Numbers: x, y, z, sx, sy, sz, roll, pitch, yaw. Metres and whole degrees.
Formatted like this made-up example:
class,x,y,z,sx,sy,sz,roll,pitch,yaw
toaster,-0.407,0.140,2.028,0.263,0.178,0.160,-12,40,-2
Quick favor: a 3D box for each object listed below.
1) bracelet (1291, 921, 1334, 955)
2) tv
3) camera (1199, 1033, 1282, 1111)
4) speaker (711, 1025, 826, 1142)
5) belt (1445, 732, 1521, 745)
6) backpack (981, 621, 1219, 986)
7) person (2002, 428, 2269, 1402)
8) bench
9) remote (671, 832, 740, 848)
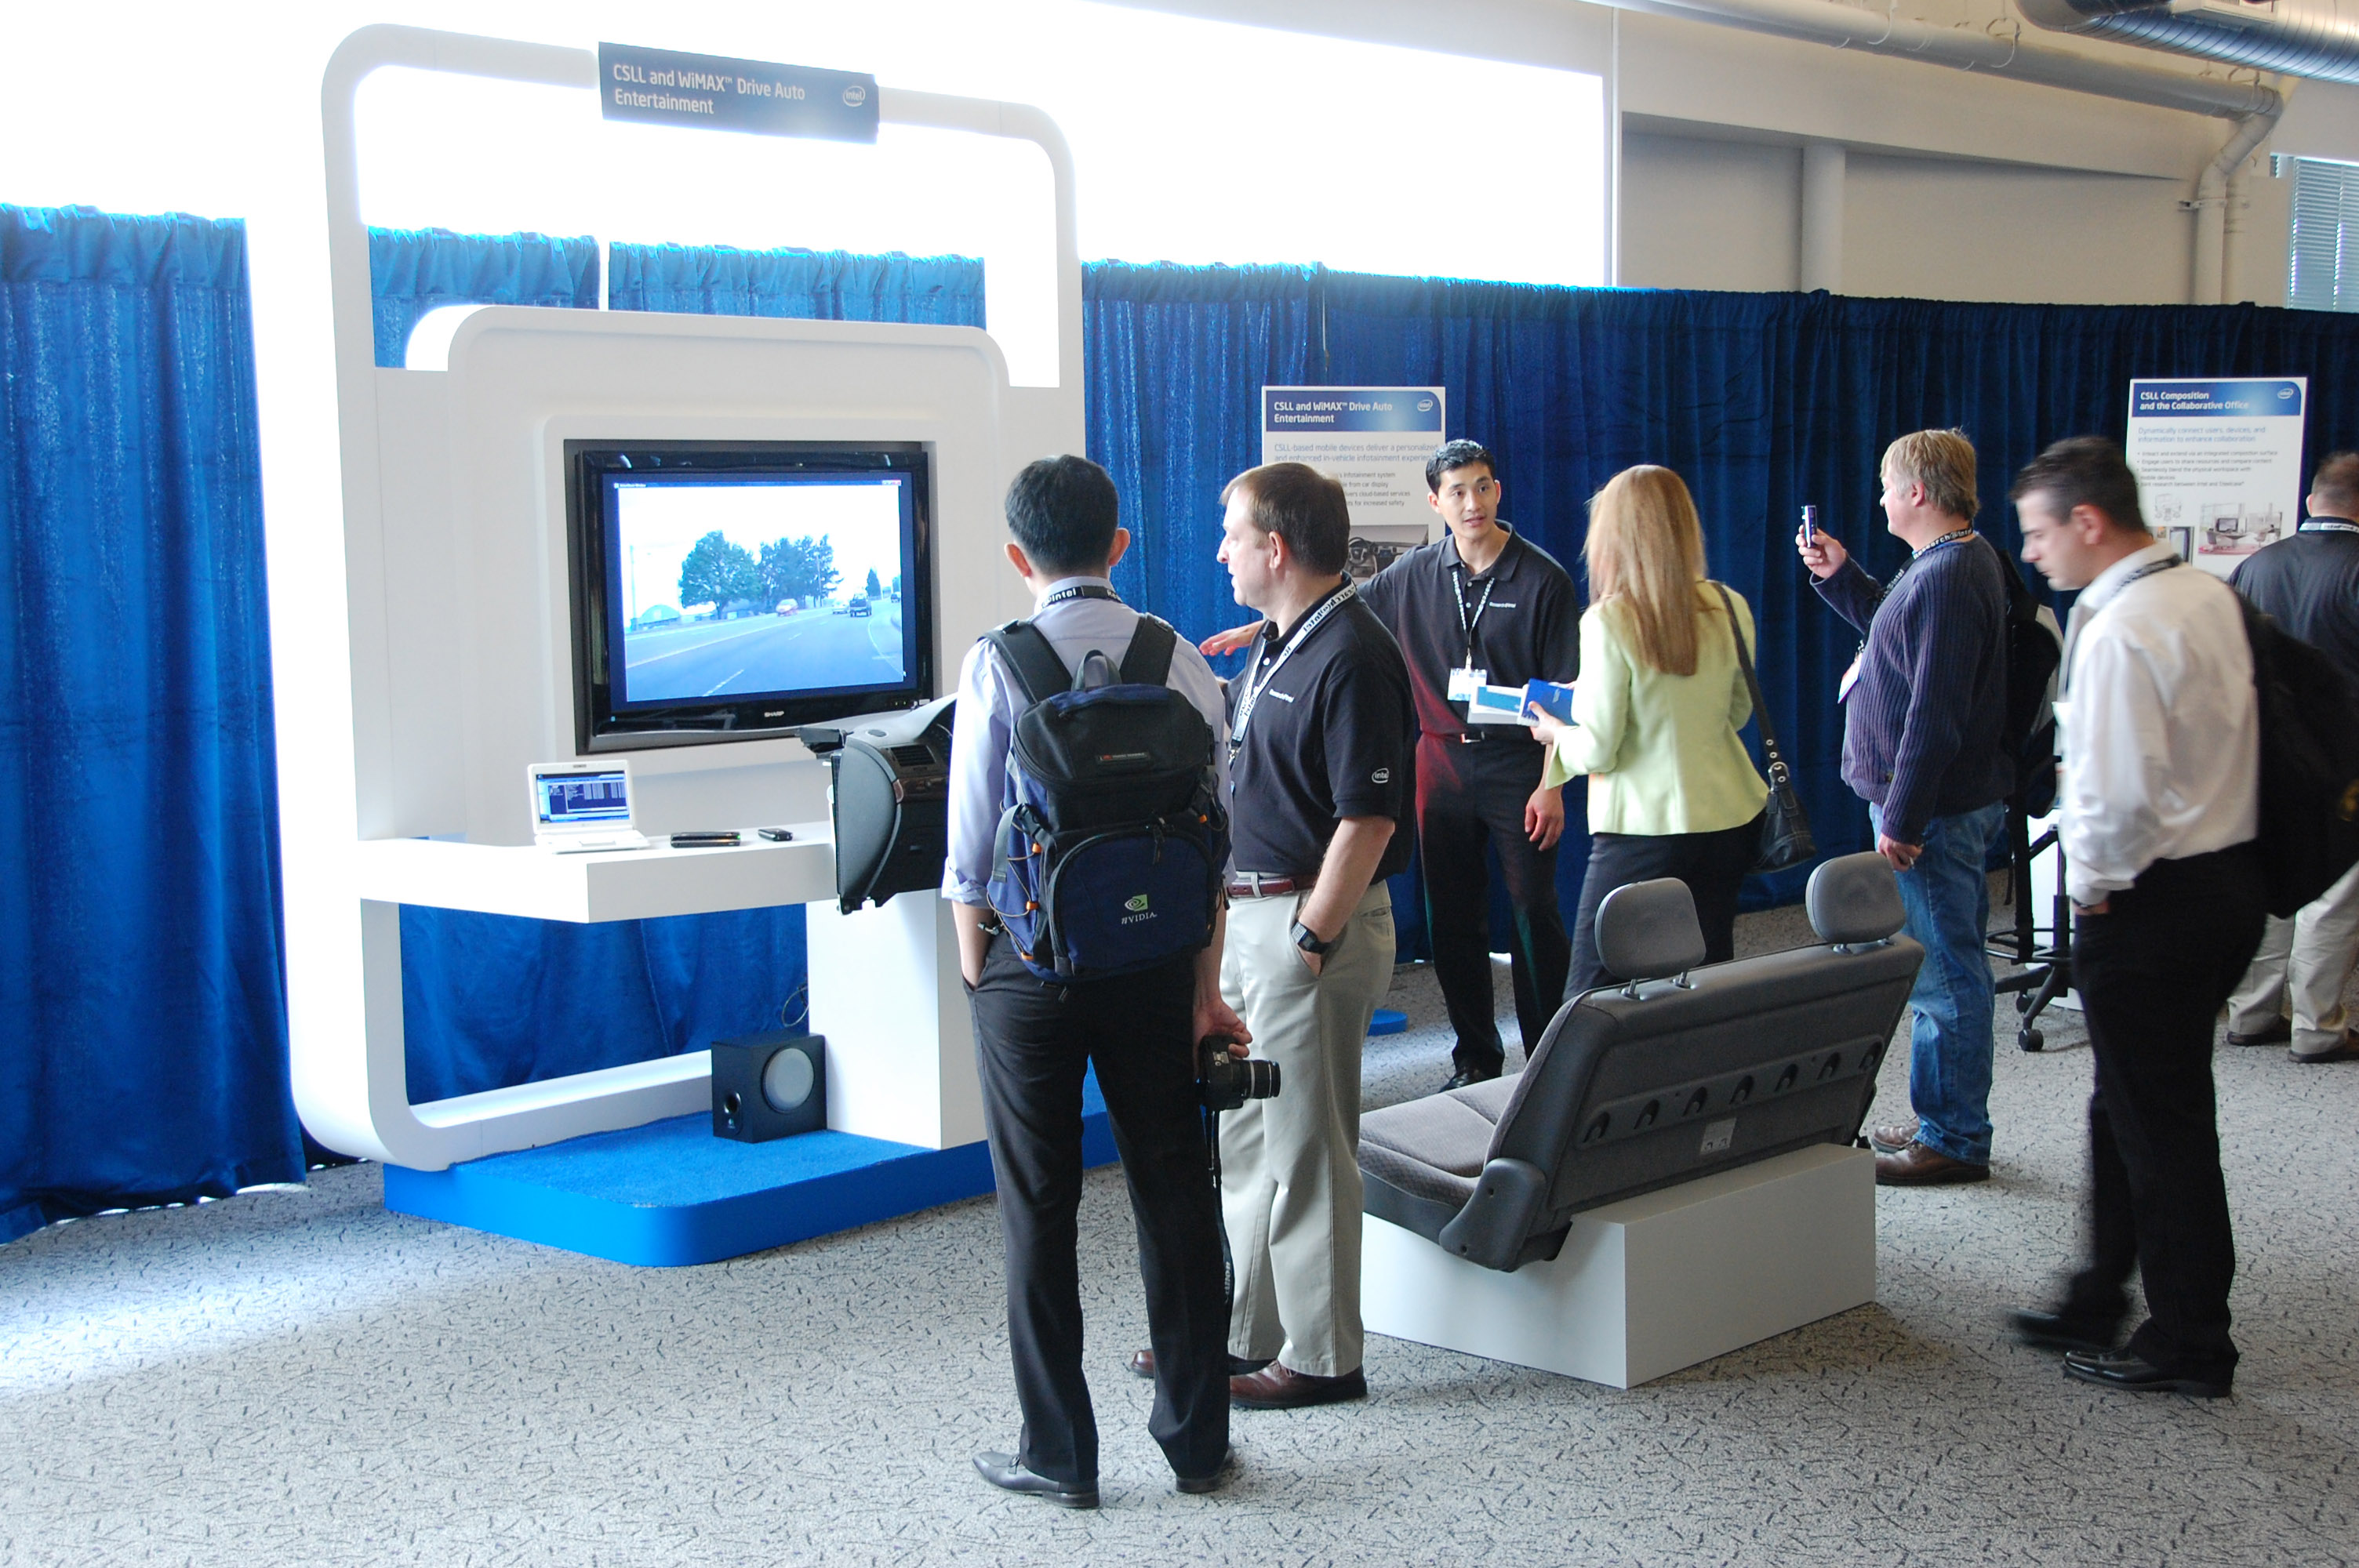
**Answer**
class,x,y,z,sx,sy,sz,roll,pitch,yaw
bracelet,0.283,0.335,3.626,0.063,0.071,0.028,-16,48,-31
tv,-1.340,-0.597,5.180,0.862,0.640,0.085,-6,8,-30
camera,0.113,0.583,3.474,0.145,0.142,0.145,0,1,-16
speaker,-1.280,0.946,5.313,0.212,0.289,0.308,-3,-2,36
belt,1.054,-0.159,5.818,0.249,0.062,0.055,1,10,10
backpack,-0.149,0.032,3.317,0.481,0.696,0.321,-2,10,-5
person,2.152,0.306,3.834,0.514,2.153,0.392,4,11,26
bench,1.083,0.606,4.368,1.476,1.321,1.168,-2,2,-41
remote,-1.328,0.153,4.729,0.189,0.017,0.182,-3,10,-13
